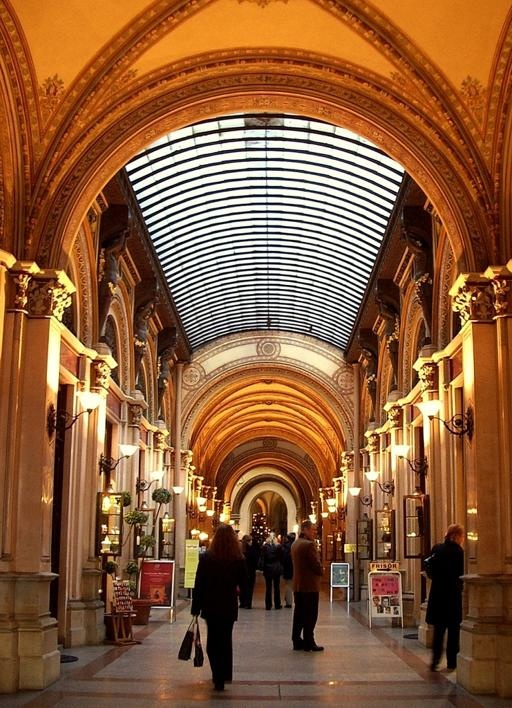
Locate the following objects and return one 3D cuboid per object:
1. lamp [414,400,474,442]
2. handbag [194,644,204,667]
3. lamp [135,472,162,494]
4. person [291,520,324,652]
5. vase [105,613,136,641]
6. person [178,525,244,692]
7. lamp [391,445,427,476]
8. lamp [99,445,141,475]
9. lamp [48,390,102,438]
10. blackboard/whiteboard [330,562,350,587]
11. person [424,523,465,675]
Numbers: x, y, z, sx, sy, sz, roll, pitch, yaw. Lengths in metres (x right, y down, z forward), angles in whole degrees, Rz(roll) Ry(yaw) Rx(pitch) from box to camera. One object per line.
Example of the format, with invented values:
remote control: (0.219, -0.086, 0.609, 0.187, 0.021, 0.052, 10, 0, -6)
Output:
lamp: (2.233, 0.781, 7.508, 0.774, 0.649, 0.405, 0, -6, 17)
handbag: (-0.474, 2.503, 5.200, 0.064, 0.183, 0.282, 4, -18, -7)
lamp: (-2.862, 3.310, 16.082, 0.832, 0.622, 0.402, -9, -9, 27)
person: (0.706, 3.096, 8.392, 0.363, 1.617, 0.493, 11, -17, -32)
vase: (-1.962, 3.961, 9.090, 0.450, 0.401, 0.641, 6, -18, -12)
person: (-0.324, 2.167, 5.405, 0.457, 1.328, 0.365, 6, -17, -12)
lamp: (2.842, 1.937, 11.432, 0.666, 0.873, 0.565, -1, -8, 5)
lamp: (-2.679, 1.974, 11.709, 0.840, 0.652, 0.466, -7, -14, 15)
lamp: (-2.452, 0.854, 8.541, 0.628, 0.877, 0.316, 6, 20, -22)
blackboard/whiteboard: (2.553, 6.767, 19.218, 0.514, 0.666, 0.672, 3, -18, -2)
person: (1.988, 2.553, 6.576, 0.416, 1.466, 0.581, -4, -18, 17)
